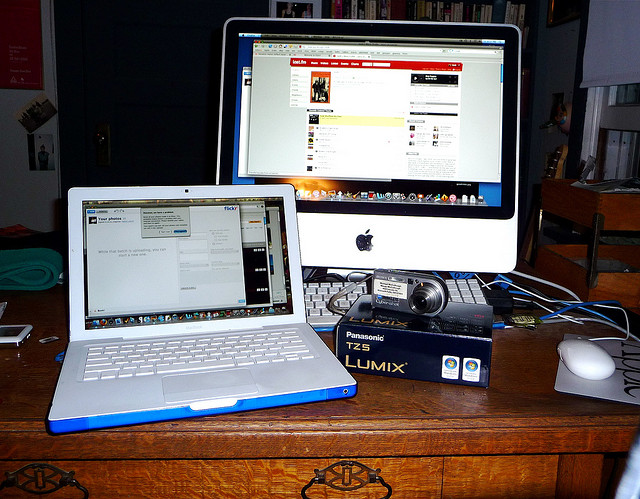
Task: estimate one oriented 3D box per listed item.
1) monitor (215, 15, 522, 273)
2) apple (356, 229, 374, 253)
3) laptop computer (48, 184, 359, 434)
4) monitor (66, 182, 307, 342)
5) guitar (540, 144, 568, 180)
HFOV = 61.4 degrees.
[{"bbox_3d":[0.108,-0.222,1.110,0.567,0.409,0.038,2,3,2],"label":"monitor"},{"bbox_3d":[0.092,-0.018,1.134,0.038,0.032,0.045,-1,11,-4],"label":"apple"},{"bbox_3d":[-0.193,0.062,0.878,0.454,0.238,0.388,0,19,-11],"label":"laptop computer"},{"bbox_3d":[-0.249,0.030,0.967,0.307,0.187,0.004,-4,-9,-9],"label":"monitor"},{"bbox_3d":[0.852,-0.321,1.964,0.058,0.115,0.308,4,14,22],"label":"guitar"}]
